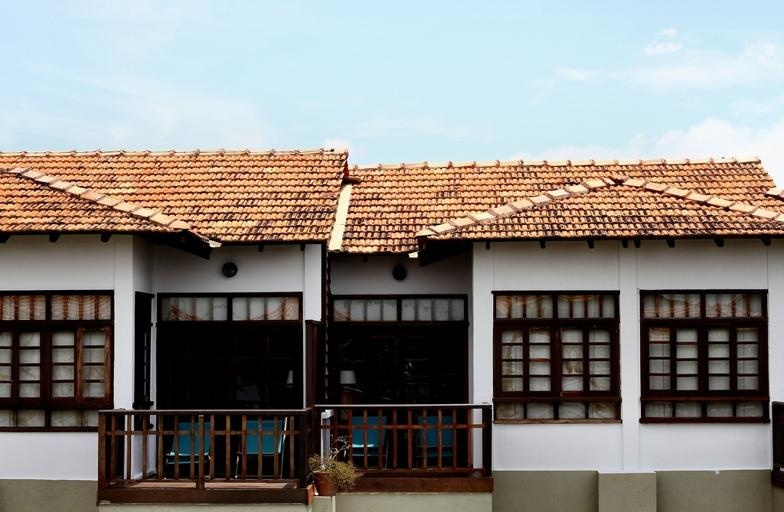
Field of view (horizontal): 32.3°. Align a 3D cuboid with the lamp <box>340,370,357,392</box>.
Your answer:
[{"bbox_3d":[-1.056,2.931,31.414,0.452,0.435,0.440,2,-2,11],"label":"lamp"}]

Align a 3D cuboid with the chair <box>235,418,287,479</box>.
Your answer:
[{"bbox_3d":[-3.023,4.159,29.542,1.061,1.753,1.122,1,12,-1],"label":"chair"}]

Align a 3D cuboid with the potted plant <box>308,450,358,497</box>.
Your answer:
[{"bbox_3d":[-1.207,4.597,28.121,0.826,0.593,0.892,0,-9,36],"label":"potted plant"}]

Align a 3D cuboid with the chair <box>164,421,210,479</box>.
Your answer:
[{"bbox_3d":[-4.355,4.159,28.739,1.058,1.001,1.616,1,7,1],"label":"chair"}]
